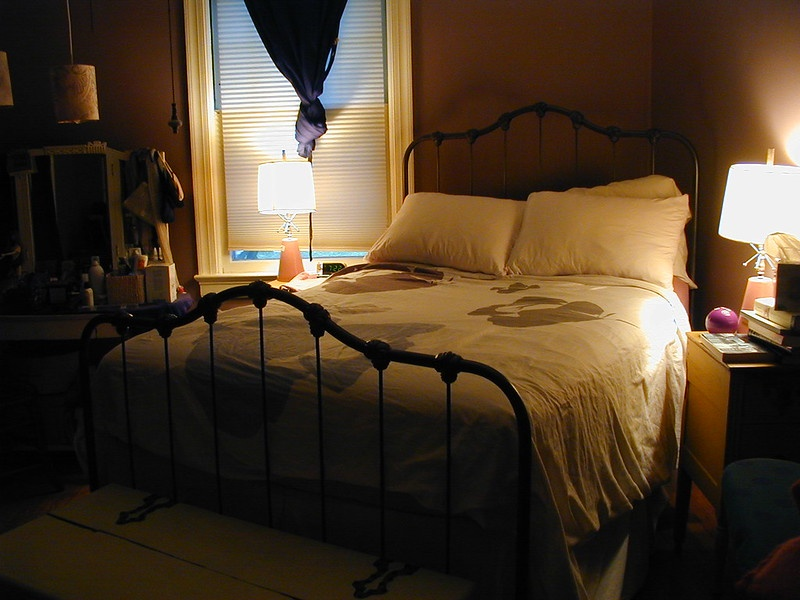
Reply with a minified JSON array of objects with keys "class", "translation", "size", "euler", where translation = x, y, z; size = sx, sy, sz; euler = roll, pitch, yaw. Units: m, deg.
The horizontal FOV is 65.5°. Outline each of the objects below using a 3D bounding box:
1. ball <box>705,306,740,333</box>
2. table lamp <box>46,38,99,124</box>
[{"class":"ball","translation":[1.323,0.085,2.560],"size":[0.128,0.110,0.114],"euler":[-13,18,-35]},{"class":"table lamp","translation":[-1.628,-1.041,3.127],"size":[0.195,0.268,0.152],"euler":[-2,12,-11]}]
